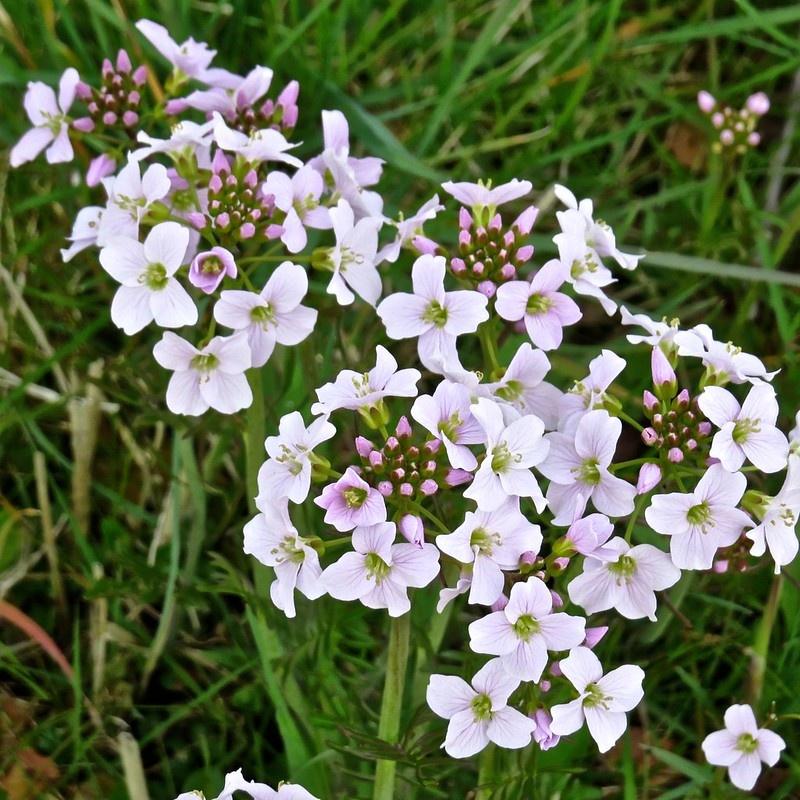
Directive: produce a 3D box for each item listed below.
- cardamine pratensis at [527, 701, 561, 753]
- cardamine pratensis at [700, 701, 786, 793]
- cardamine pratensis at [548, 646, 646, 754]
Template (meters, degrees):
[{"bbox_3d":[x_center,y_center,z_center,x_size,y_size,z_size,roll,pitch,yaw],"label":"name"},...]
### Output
[{"bbox_3d":[0.318,0.716,2.050,0.050,0.041,0.104,-29,54,24],"label":"cardamine pratensis"},{"bbox_3d":[0.796,0.785,2.127,0.148,0.063,0.197,41,124,25],"label":"cardamine pratensis"},{"bbox_3d":[0.419,0.648,2.001,0.200,0.193,0.203,17,82,3],"label":"cardamine pratensis"}]
